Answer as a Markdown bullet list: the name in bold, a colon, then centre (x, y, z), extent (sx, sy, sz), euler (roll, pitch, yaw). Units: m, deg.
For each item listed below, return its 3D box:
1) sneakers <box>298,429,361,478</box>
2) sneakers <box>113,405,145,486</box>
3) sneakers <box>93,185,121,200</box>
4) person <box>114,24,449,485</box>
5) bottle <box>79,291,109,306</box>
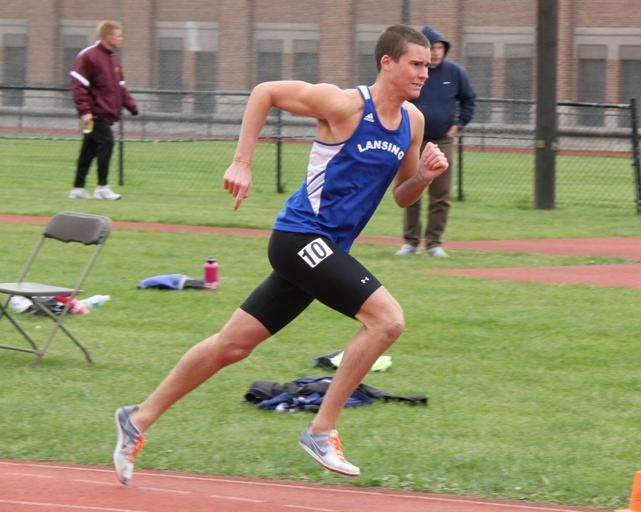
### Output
- **sneakers**: centre (0.046, 1.042, 4.998), extent (0.320, 0.266, 0.155), euler (2, 5, -1)
- **sneakers**: centre (-0.997, 0.984, 4.985), extent (0.150, 0.385, 0.211), euler (2, 5, -10)
- **sneakers**: centre (-3.073, -0.901, 13.390), extent (0.507, 0.144, 0.180), euler (3, 12, 3)
- **person**: centre (-0.127, -0.048, 5.103), extent (1.620, 2.431, 0.662), euler (2, 5, -9)
- **bottle**: centre (-1.909, 0.361, 8.039), extent (0.295, 0.055, 0.070), euler (-9, 40, -39)
